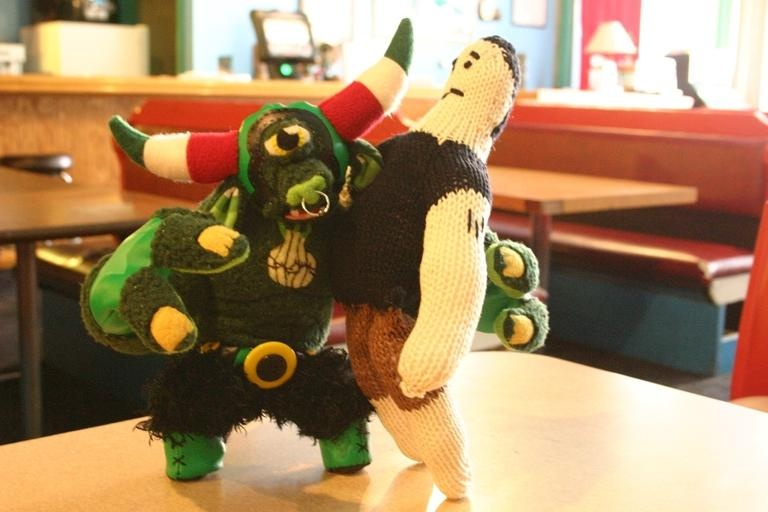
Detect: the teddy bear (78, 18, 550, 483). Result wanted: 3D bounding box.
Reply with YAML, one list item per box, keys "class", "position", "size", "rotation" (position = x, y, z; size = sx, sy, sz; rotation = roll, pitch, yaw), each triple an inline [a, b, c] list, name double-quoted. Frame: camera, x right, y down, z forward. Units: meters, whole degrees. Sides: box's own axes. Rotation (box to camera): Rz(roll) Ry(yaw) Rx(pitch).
- class: "teddy bear"
  position: [-0.083, 0.004, 0.923]
  size: [0.583, 0.550, 0.319]
  rotation: [1, -3, 2]

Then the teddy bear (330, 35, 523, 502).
- class: "teddy bear"
  position: [0.038, 0.004, 0.909]
  size: [0.201, 0.522, 0.271]
  rotation: [7, 25, 4]
